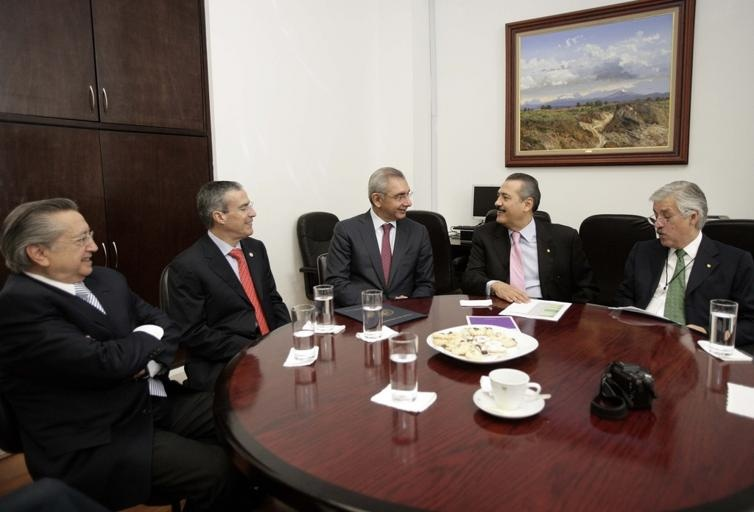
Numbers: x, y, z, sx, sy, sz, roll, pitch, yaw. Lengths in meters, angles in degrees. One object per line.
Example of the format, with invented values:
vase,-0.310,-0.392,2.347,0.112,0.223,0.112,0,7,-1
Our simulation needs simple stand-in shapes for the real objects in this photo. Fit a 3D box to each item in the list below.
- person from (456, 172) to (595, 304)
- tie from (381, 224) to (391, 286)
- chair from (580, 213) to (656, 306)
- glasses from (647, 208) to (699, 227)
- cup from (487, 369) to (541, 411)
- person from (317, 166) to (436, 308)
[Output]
person,1.055,-0.119,3.394,0.832,0.862,0.384,2,14,19
tie,0.065,0.000,3.488,0.062,0.442,0.060,2,-13,-3
chair,1.796,0.000,3.917,0.585,0.857,0.734,0,10,22
glasses,1.768,-0.230,2.890,0.252,0.151,0.118,5,16,30
cup,0.493,0.457,1.796,0.172,0.112,0.144,1,0,5
person,0.011,-0.143,3.467,0.755,0.901,0.333,-3,14,0
